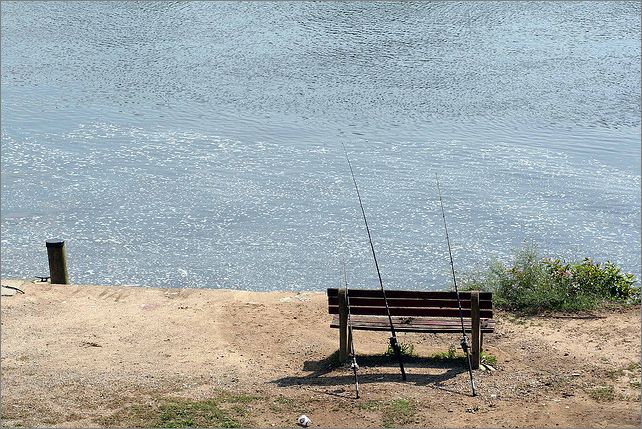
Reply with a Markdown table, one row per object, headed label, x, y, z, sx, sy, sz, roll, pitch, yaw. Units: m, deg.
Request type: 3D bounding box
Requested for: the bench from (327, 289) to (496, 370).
| label | x | y | z | sx | sy | sz | roll | pitch | yaw |
| --- | --- | --- | --- | --- | --- | --- | --- | --- | --- |
| bench | 2.071 | 2.514 | 19.298 | 3.642 | 1.744 | 0.831 | 1 | 12 | 6 |
